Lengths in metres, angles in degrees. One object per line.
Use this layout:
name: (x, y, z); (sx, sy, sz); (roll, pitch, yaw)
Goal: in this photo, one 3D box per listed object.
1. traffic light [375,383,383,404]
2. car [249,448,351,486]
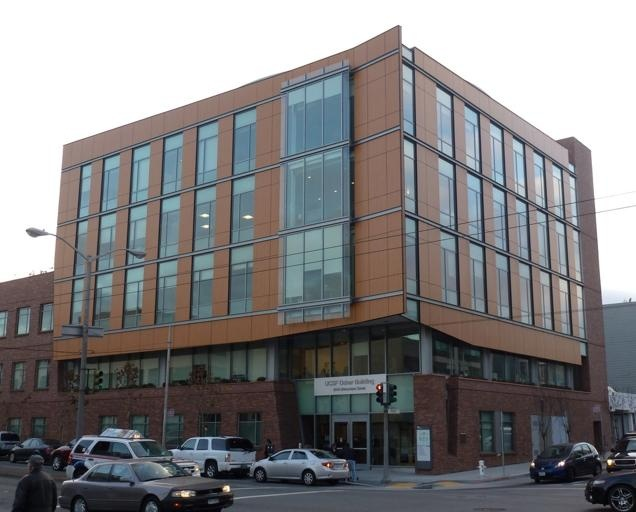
traffic light: (2.950, 6.673, 32.268); (0.363, 0.946, 0.296); (-1, -22, -3)
car: (-0.951, 9.911, 31.123); (3.866, 1.688, 1.462); (-14, -24, 32)
